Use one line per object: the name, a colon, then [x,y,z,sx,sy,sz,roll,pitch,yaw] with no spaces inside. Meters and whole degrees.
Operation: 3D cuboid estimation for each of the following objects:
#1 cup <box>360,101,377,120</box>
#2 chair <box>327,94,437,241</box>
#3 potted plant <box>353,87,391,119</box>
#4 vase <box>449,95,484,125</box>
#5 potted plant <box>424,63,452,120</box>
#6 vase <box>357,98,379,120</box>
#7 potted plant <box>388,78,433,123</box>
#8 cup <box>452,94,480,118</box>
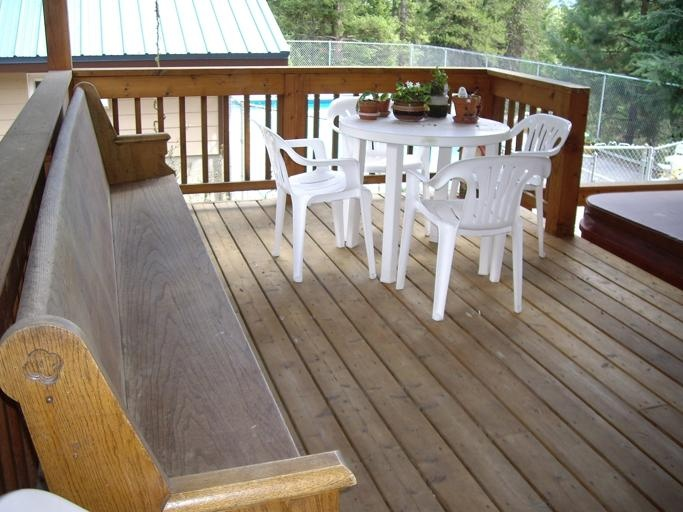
cup: [0.175,-0.964,3.484,0.108,0.093,0.109,0,17,0]
chair: [0.253,-0.720,4.155,0.802,1.100,0.751,-10,28,-22]
potted plant: [0.209,-1.012,3.595,0.220,0.167,0.204,-8,14,-43]
vase: [0.829,-0.979,3.496,0.192,0.189,0.176,13,27,26]
potted plant: [0.666,-1.099,3.570,0.173,0.282,0.188,2,18,8]
vase: [0.178,-0.969,3.488,0.125,0.108,0.131,0,9,-1]
potted plant: [0.470,-1.018,3.506,0.260,0.259,0.251,-15,26,-39]
cup: [0.820,-0.966,3.516,0.140,0.162,0.177,-10,34,-15]
